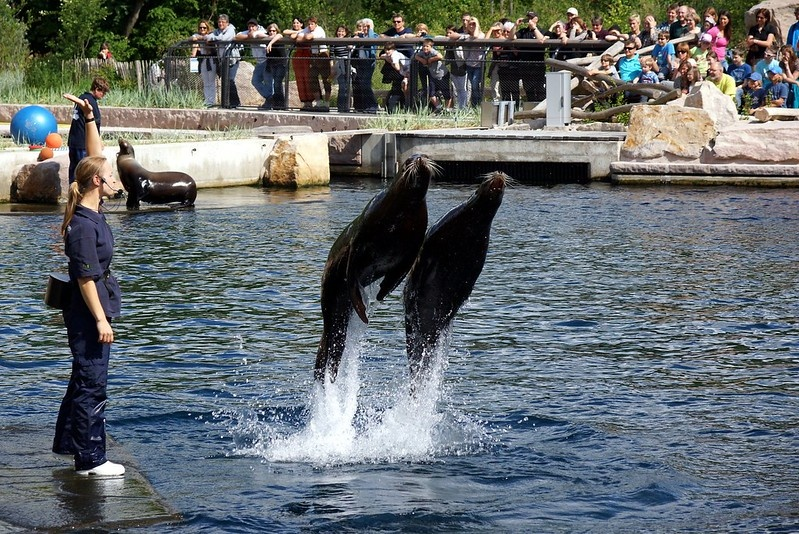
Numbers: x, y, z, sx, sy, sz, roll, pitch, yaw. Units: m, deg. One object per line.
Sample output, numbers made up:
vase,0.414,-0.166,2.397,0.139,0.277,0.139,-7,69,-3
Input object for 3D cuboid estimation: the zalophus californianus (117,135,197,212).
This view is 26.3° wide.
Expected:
zalophus californianus,-4.702,-1.697,32.801,1.841,1.124,0.672,3,12,-38

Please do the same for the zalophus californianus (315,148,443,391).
zalophus californianus,-0.297,0.088,21.132,1.729,2.974,0.721,8,14,41

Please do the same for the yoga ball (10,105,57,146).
yoga ball,-7.815,-3.015,36.573,0.931,0.768,1.066,-5,11,-26

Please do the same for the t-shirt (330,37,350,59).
t-shirt,-1.396,-5.157,40.517,0.535,0.606,0.356,1,1,23

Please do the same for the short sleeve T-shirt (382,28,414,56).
short sleeve T-shirt,-0.041,-5.274,40.381,0.622,0.421,1.495,-20,8,-18
